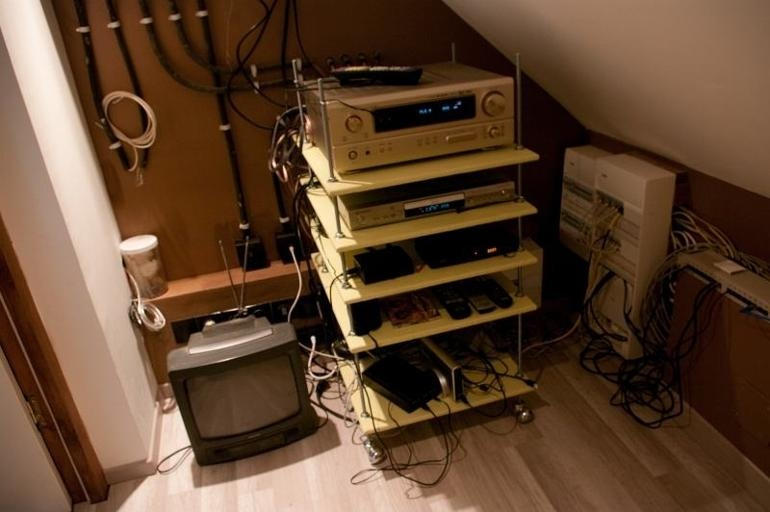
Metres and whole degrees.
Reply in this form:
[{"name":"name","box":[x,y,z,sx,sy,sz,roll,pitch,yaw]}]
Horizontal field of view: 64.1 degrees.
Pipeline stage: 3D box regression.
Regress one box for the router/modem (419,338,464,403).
[{"name":"router/modem","box":[0.328,0.607,3.216,0.069,0.257,0.290,-11,29,-16]}]

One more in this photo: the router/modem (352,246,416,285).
[{"name":"router/modem","box":[-0.004,0.026,3.024,0.242,0.083,0.170,-12,34,-16]}]

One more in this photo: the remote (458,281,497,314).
[{"name":"remote","box":[0.493,0.208,3.257,0.143,0.045,0.275,-11,31,-3]}]

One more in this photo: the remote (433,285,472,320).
[{"name":"remote","box":[0.338,0.226,3.248,0.132,0.053,0.279,-1,36,-24]}]

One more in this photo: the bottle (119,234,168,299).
[{"name":"bottle","box":[-1.351,0.066,3.466,0.242,0.329,0.292,-13,26,-10]}]

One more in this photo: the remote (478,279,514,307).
[{"name":"remote","box":[0.578,0.183,3.222,0.083,0.045,0.185,-17,35,-19]}]

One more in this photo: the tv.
[{"name":"tv","box":[-0.744,0.698,3.261,0.661,0.705,0.281,-14,29,-8]}]
